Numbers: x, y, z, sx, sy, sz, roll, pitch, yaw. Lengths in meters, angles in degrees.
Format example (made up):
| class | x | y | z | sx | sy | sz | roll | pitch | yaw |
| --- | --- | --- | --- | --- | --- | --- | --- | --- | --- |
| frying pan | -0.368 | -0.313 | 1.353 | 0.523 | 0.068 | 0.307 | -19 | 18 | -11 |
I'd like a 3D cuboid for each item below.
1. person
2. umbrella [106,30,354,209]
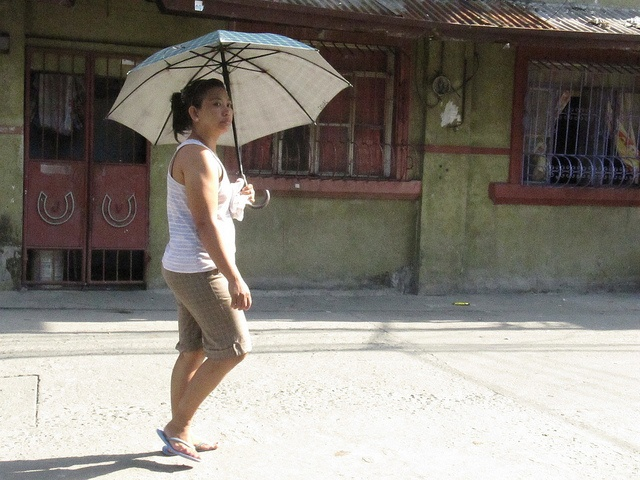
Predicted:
| class | x | y | z | sx | sy | sz | roll | pitch | yaw |
| --- | --- | --- | --- | --- | --- | --- | --- | --- | --- |
| person | -0.904 | 0.223 | 6.846 | 0.695 | 2.877 | 0.828 | -1 | 12 | -11 |
| umbrella | -0.835 | -1.078 | 8.337 | 1.896 | 1.470 | 1.885 | 0 | 26 | 9 |
